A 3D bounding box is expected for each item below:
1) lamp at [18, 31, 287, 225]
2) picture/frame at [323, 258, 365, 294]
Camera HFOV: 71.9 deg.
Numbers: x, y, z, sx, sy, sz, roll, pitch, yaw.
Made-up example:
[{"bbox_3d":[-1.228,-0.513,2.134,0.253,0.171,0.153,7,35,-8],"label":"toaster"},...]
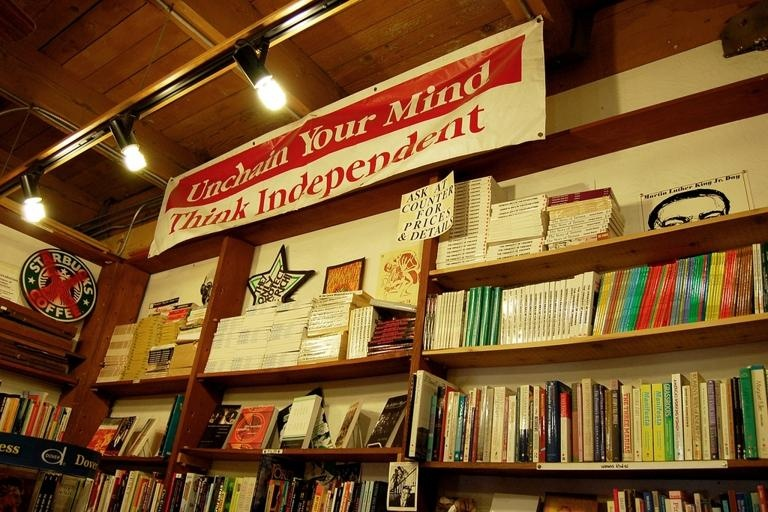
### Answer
[{"bbox_3d":[-1.984,-1.143,4.589,2.764,0.443,0.220,-29,-35,16],"label":"lamp"},{"bbox_3d":[-0.304,0.169,4.159,0.274,0.221,0.020,-21,-43,33],"label":"picture/frame"}]
